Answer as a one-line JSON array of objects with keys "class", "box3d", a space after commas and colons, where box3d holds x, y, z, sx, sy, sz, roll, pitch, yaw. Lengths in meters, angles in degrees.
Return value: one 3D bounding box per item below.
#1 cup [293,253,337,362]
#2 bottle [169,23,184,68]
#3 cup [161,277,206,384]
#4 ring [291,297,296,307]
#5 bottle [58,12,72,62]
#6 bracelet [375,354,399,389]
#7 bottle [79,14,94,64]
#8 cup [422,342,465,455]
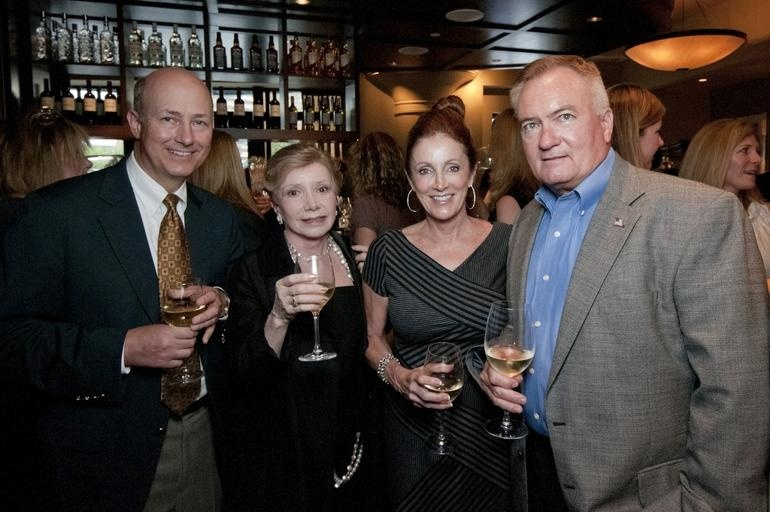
[{"class": "cup", "box3d": [-0.321, 0.244, 2.857, 0.188, 0.542, 0.438, -4, 9, -5]}, {"class": "bottle", "box3d": [-1.972, -2.003, 5.732, 0.151, 0.376, 0.234, -6, 10, -17]}, {"class": "cup", "box3d": [-0.891, 0.355, 2.701, 0.181, 0.476, 0.203, -7, 10, -23]}, {"class": "ring", "box3d": [-0.398, 0.203, 2.669, 0.013, 0.042, 0.031, -7, 16, -2]}, {"class": "bottle", "box3d": [-2.794, -1.864, 5.294, 0.124, 0.306, 0.102, -8, 10, -28]}, {"class": "bracelet", "box3d": [0.014, 0.560, 2.934, 0.126, 0.138, 0.044, -9, 17, -13]}, {"class": "bottle", "box3d": [-2.673, -1.952, 5.418, 0.133, 0.430, 0.227, -7, 10, -23]}, {"class": "cup", "box3d": [0.283, 0.664, 2.771, 0.170, 0.577, 0.341, -2, 9, 8]}]
